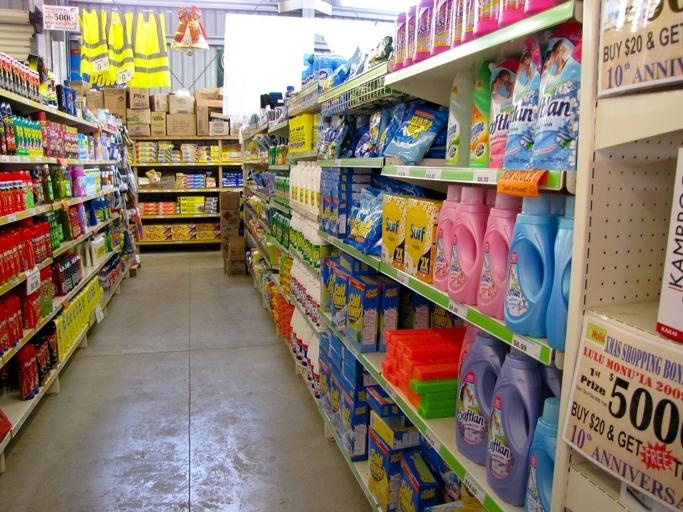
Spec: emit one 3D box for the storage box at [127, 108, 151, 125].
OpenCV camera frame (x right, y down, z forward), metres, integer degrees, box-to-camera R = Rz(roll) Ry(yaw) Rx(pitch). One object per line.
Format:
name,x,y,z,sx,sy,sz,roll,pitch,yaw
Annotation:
storage box,-3.823,-2.612,9.103,0.298,0.204,0.309,-2,6,-23

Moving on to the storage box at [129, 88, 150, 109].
storage box,-3.795,-2.931,9.113,0.332,0.363,0.347,0,15,-11

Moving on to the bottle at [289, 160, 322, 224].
bottle,-0.271,-0.487,3.701,0.118,0.341,0.518,0,8,-14

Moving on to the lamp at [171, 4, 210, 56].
lamp,-2.343,-3.525,7.459,0.516,0.642,0.355,9,13,38

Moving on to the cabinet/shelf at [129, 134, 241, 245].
cabinet/shelf,-3.019,-1.282,9.268,1.830,2.011,0.643,-1,4,-9

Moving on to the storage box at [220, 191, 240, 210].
storage box,-1.918,-0.953,8.310,0.278,0.301,0.289,-1,3,-9
